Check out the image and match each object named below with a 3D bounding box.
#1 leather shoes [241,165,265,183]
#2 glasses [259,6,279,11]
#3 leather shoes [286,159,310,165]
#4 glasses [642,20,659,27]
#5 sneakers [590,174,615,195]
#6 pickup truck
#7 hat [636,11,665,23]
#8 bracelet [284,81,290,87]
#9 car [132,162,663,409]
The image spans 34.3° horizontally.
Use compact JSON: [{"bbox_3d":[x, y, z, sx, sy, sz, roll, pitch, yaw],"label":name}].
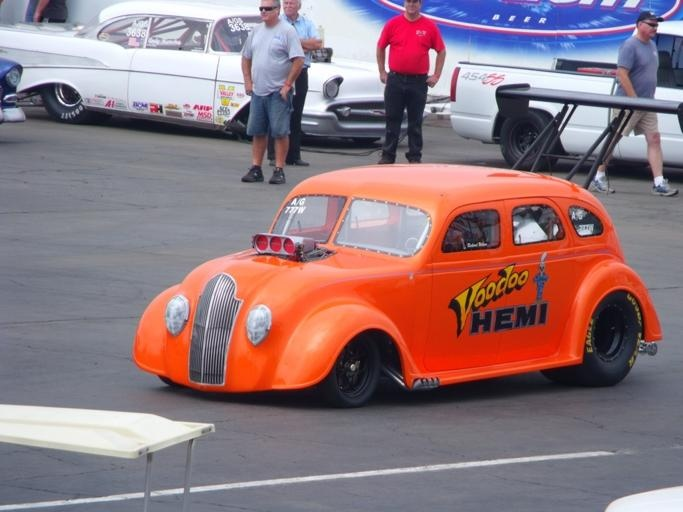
[{"bbox_3d":[-1.178,-1.048,14.615,0.151,0.172,0.361,7,2,24],"label":"leather shoes"},{"bbox_3d":[-0.924,-3.133,14.171,0.221,0.068,0.149,0,17,-7],"label":"glasses"},{"bbox_3d":[-0.618,-1.314,16.010,0.322,0.131,0.112,-2,8,7],"label":"leather shoes"},{"bbox_3d":[4.001,-2.953,14.273,0.188,0.075,0.100,-6,19,-26],"label":"glasses"},{"bbox_3d":[3.529,-0.930,14.795,0.446,0.269,0.171,2,13,-18],"label":"sneakers"},{"bbox_3d":[3.188,-2.262,16.003,3.469,1.524,1.919,3,6,30],"label":"pickup truck"},{"bbox_3d":[3.940,-3.051,14.373,0.406,0.195,0.264,10,11,33],"label":"hat"},{"bbox_3d":[-0.695,-2.182,14.221,0.049,0.039,0.083,2,-3,36],"label":"bracelet"},{"bbox_3d":[0.532,0.200,8.070,3.189,1.244,1.835,-1,3,-31],"label":"car"}]
